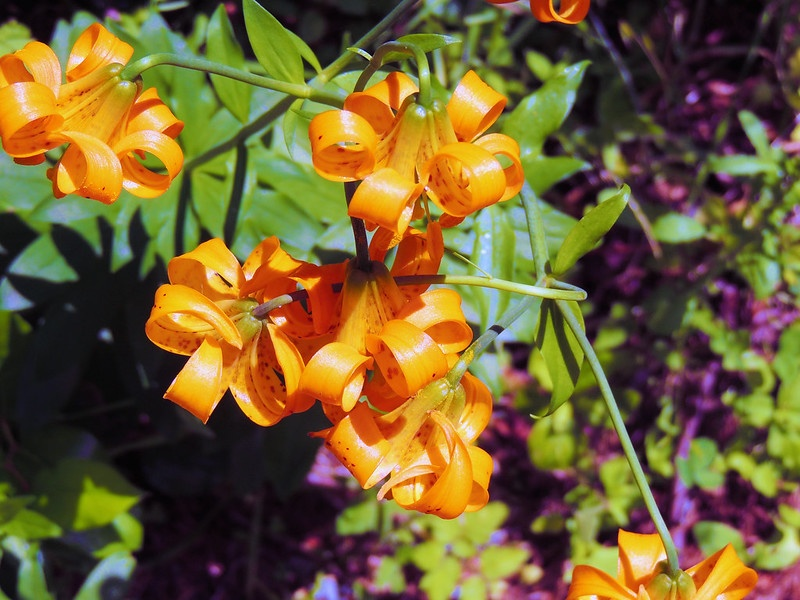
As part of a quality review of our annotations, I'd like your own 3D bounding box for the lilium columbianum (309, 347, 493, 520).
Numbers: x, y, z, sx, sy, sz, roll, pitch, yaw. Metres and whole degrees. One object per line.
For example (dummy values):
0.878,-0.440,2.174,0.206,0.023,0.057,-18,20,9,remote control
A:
0.014,0.223,1.158,0.217,0.128,0.215,41,51,-18,lilium columbianum
